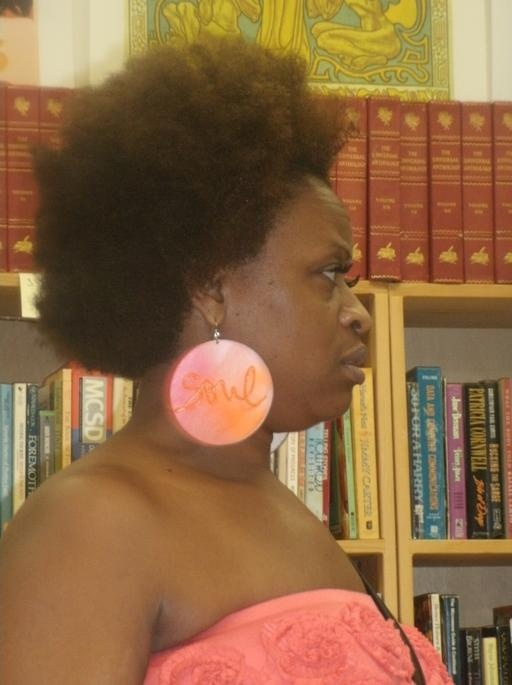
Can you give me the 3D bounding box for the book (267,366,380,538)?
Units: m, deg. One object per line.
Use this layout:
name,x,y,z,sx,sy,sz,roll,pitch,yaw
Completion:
book,0.143,0.218,1.699,0.241,0.325,0.322,-2,69,-1

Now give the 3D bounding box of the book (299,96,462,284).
book,0.218,-0.266,1.843,0.311,0.410,0.441,1,86,1
